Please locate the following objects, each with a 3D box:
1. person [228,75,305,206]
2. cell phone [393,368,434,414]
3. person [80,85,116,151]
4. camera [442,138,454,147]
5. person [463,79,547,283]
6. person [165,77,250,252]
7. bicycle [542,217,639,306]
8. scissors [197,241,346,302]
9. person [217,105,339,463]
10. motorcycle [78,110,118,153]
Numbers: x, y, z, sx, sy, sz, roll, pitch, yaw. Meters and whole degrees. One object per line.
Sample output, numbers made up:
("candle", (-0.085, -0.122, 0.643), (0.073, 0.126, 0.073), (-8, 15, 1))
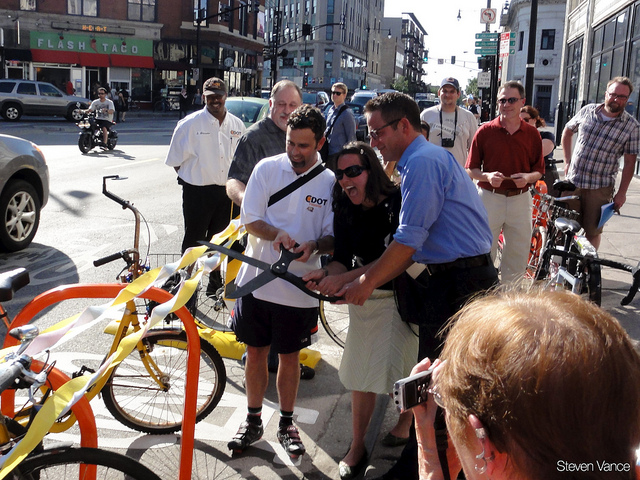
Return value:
("person", (-0.414, -0.826, 4.379), (0.557, 1.175, 0.588), (10, 13, 17))
("cell phone", (0.296, 0.487, 1.738), (0.144, 0.167, 0.060), (-8, 20, -31))
("person", (-7.159, -3.918, 17.684), (0.747, 1.960, 0.964), (2, 6, -13))
("camera", (1.687, -1.259, 7.158), (0.170, 0.122, 0.072), (-3, 18, -17))
("person", (1.966, -0.634, 5.663), (0.820, 2.596, 1.031), (1, 3, 8))
("person", (-1.177, -0.736, 5.676), (0.642, 2.433, 0.771), (-1, 19, -32))
("bicycle", (2.571, 0.204, 5.149), (0.534, 0.722, 1.150), (12, 11, -13))
("scissors", (-0.239, 0.170, 3.002), (0.738, 0.363, 0.364), (-9, 22, -31))
("person", (-0.221, 0.255, 3.402), (0.698, 2.244, 0.911), (0, 4, -8))
("motorcycle", (-6.935, -3.313, 16.995), (1.016, 1.171, 1.587), (-3, 20, -16))
